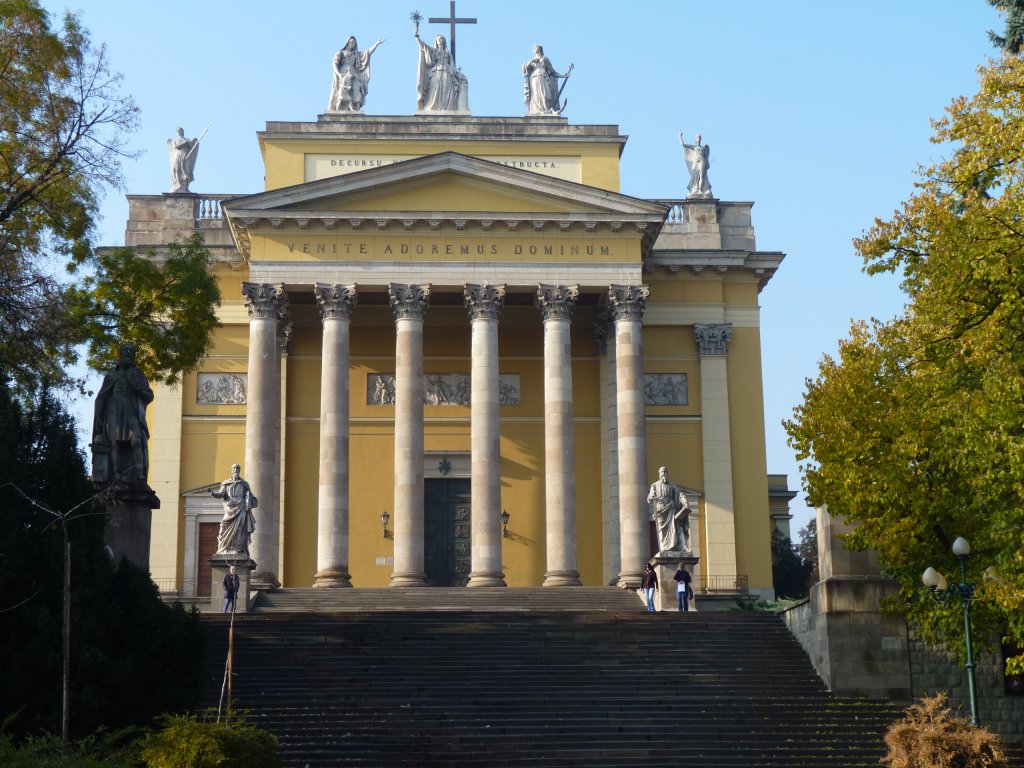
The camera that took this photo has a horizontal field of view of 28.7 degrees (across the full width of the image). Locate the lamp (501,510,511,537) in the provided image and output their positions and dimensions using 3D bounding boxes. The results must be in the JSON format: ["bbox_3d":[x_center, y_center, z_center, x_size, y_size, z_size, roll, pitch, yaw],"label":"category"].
[{"bbox_3d":[-0.193,4.013,61.157,0.251,0.868,0.398,-1,-13,7],"label":"lamp"}]

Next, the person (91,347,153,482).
[{"bbox_3d":[-9.034,0.571,46.325,1.282,3.474,1.129,3,-13,-11],"label":"person"}]

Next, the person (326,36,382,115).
[{"bbox_3d":[-5.121,-9.733,63.124,1.146,2.343,0.630,2,-13,-9],"label":"person"}]

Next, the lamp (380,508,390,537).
[{"bbox_3d":[-3.843,4.022,60.697,0.336,0.845,0.284,0,-13,3],"label":"lamp"}]
